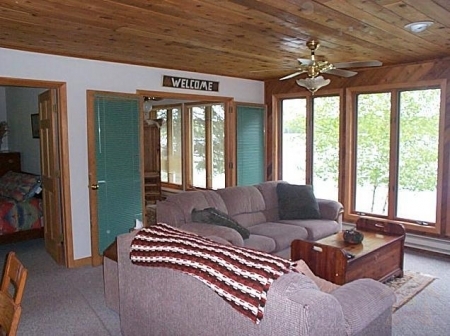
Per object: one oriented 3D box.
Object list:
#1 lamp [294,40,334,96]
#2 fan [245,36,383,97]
[{"bbox_3d":[1.147,-1.167,4.222,0.413,0.592,1.664,2,9,16],"label":"lamp"},{"bbox_3d":[0.996,-1.084,3.868,1.317,0.481,1.282,2,14,23],"label":"fan"}]
